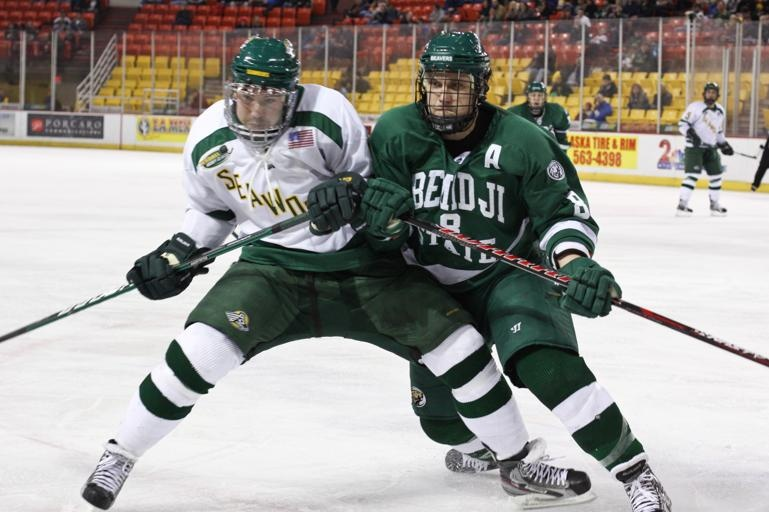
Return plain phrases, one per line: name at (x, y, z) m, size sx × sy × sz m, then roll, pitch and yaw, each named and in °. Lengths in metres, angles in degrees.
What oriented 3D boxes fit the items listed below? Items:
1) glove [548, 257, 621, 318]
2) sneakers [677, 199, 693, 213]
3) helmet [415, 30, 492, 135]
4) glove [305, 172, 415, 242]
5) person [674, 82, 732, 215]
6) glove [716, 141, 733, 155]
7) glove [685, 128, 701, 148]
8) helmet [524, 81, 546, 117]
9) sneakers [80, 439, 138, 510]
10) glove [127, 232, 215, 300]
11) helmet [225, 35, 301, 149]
glove at (0.874, 0.101, 4.208) m, size 0.277 × 0.139 × 0.317 m, roll 21°, pitch 16°, yaw -5°
sneakers at (3.259, -0.547, 10.622) m, size 0.157 × 0.157 × 0.284 m, roll 5°, pitch 9°, yaw 18°
helmet at (0.313, -0.788, 4.480) m, size 0.360 × 0.412 × 0.458 m, roll 0°, pitch 8°, yaw 9°
glove at (-0.105, -0.213, 4.249) m, size 0.348 × 0.143 × 0.324 m, roll -13°, pitch 39°, yaw -18°
person at (3.714, -1.282, 11.358) m, size 0.604 × 1.430 × 2.149 m, roll 5°, pitch 9°, yaw 18°
glove at (4.041, -1.289, 11.651) m, size 0.133 × 0.138 × 0.334 m, roll -3°, pitch 15°, yaw 6°
glove at (3.564, -1.359, 11.322) m, size 0.137 × 0.214 × 0.067 m, roll -37°, pitch -11°, yaw 15°
helmet at (1.535, -1.576, 9.890) m, size 0.249 × 0.302 × 0.325 m, roll 0°, pitch 7°, yaw 3°
sneakers at (-1.141, 0.911, 4.231) m, size 0.142 × 0.146 × 0.376 m, roll 29°, pitch 27°, yaw -14°
glove at (-0.961, 0.031, 4.517) m, size 0.290 × 0.143 × 0.358 m, roll 13°, pitch 36°, yaw 7°
helmet at (-0.541, -0.771, 4.503) m, size 0.359 × 0.429 × 0.454 m, roll 5°, pitch 29°, yaw -1°
